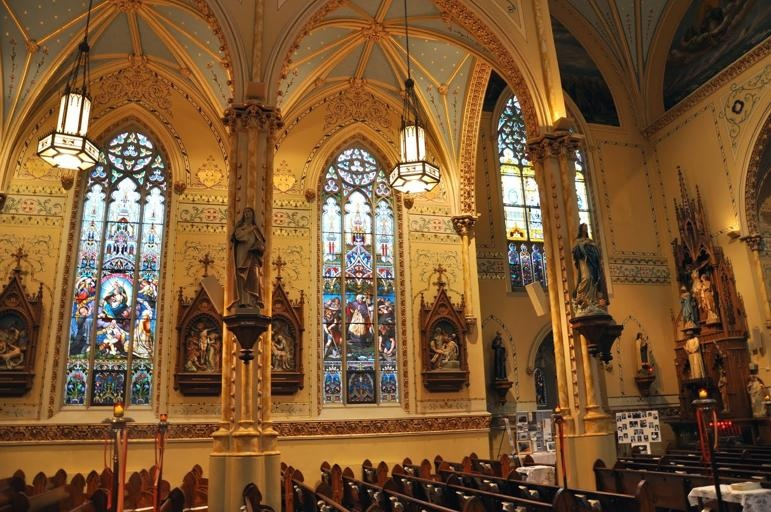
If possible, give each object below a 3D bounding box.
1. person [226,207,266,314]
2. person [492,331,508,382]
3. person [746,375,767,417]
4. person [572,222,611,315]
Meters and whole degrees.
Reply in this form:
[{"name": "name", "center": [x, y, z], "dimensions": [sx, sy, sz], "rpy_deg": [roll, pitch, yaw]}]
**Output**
[{"name": "person", "center": [-3.115, 0.067, 15.120], "dimensions": [0.727, 2.275, 0.521], "rpy_deg": [2, -18, -11]}, {"name": "person", "center": [3.726, 3.331, 22.148], "dimensions": [0.472, 1.595, 0.490], "rpy_deg": [-4, -17, 7]}, {"name": "person", "center": [11.076, 4.122, 19.957], "dimensions": [0.555, 1.160, 0.271], "rpy_deg": [-3, -17, 5]}, {"name": "person", "center": [4.910, 0.238, 16.498], "dimensions": [0.735, 2.286, 0.659], "rpy_deg": [-7, -18, 15]}]
